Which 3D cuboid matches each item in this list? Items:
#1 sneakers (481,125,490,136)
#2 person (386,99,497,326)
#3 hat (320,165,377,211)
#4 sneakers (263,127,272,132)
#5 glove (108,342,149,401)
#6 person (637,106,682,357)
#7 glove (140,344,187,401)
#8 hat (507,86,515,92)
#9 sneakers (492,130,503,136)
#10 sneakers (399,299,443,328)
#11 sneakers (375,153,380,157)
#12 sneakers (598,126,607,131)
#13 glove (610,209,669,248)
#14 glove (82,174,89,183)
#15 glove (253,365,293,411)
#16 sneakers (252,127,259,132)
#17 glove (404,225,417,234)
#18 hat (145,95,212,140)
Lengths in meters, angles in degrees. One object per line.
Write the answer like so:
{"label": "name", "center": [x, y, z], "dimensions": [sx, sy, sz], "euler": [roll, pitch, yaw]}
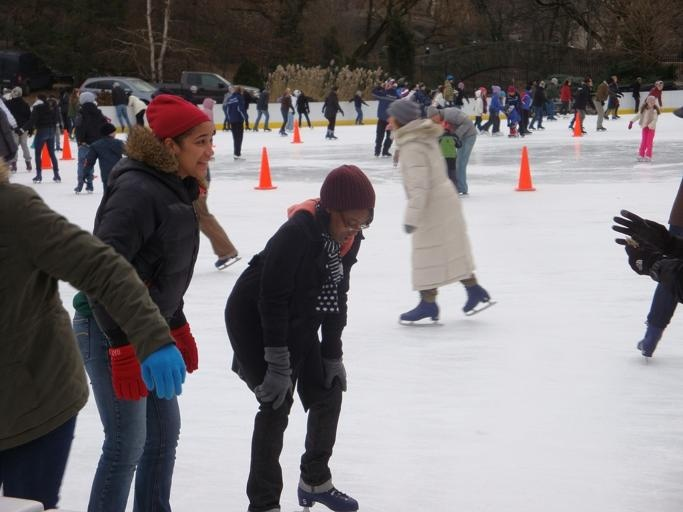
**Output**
{"label": "sneakers", "center": [4.473, -3.881, 26.142], "dimensions": [0.195, 0.244, 0.584], "euler": [-1, 1, 4]}
{"label": "person", "center": [0.729, -0.317, 6.369], "dimensions": [0.713, 1.678, 0.472], "euler": [-1, 13, 3]}
{"label": "hat", "center": [0.039, -0.301, 3.701], "dimensions": [0.213, 0.165, 0.214], "euler": [6, 16, 27]}
{"label": "sneakers", "center": [-2.665, -4.561, 30.182], "dimensions": [0.109, 0.213, 0.332], "euler": [6, 20, 38]}
{"label": "glove", "center": [-0.865, 0.468, 3.352], "dimensions": [0.135, 0.211, 0.124], "euler": [-1, -16, -26]}
{"label": "person", "center": [2.100, 0.032, 5.612], "dimensions": [0.212, 1.237, 0.335], "euler": [10, 6, 41]}
{"label": "glove", "center": [-0.643, 0.427, 3.035], "dimensions": [0.146, 0.226, 0.095], "euler": [-10, 16, -33]}
{"label": "hat", "center": [4.615, -4.605, 22.901], "dimensions": [0.203, 0.166, 0.273], "euler": [-1, -3, 6]}
{"label": "sneakers", "center": [4.761, -3.793, 25.855], "dimensions": [0.393, 0.176, 0.135], "euler": [1, 19, 0]}
{"label": "sneakers", "center": [0.608, 0.443, 6.430], "dimensions": [0.404, 0.286, 0.135], "euler": [0, 4, 1]}
{"label": "sneakers", "center": [0.795, -2.276, 18.772], "dimensions": [0.101, 0.050, 0.138], "euler": [-2, 4, -2]}
{"label": "sneakers", "center": [7.795, -3.843, 25.160], "dimensions": [0.339, 0.114, 0.142], "euler": [-3, -27, -17]}
{"label": "glove", "center": [1.680, -0.171, 4.774], "dimensions": [0.398, 0.223, 0.205], "euler": [-6, 14, -20]}
{"label": "glove", "center": [-3.933, -1.194, 13.022], "dimensions": [0.153, 0.141, 0.241], "euler": [-1, 3, -13]}
{"label": "glove", "center": [-0.278, 0.562, 3.689], "dimensions": [0.192, 0.192, 0.123], "euler": [-8, 15, -27]}
{"label": "sneakers", "center": [-3.052, -4.529, 30.045], "dimensions": [0.098, 0.154, 0.298], "euler": [-5, -5, -23]}
{"label": "glove", "center": [0.496, -0.195, 6.203], "dimensions": [0.064, 0.023, 0.069], "euler": [7, -32, -3]}
{"label": "hat", "center": [-0.701, -0.602, 3.658], "dimensions": [0.270, 0.204, 0.206], "euler": [-15, 2, -25]}
